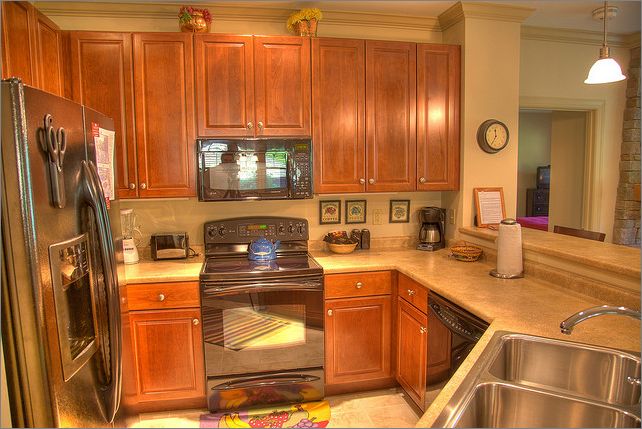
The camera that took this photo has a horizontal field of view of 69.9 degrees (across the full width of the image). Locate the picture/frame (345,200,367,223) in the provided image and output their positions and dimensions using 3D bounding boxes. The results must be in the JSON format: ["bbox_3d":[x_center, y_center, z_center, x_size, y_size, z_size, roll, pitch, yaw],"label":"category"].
[{"bbox_3d":[0.301,-0.033,4.068,0.216,0.213,0.016,0,4,-13],"label":"picture/frame"}]

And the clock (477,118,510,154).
[{"bbox_3d":[1.479,-0.660,3.901,0.319,0.284,0.076,-7,9,-22],"label":"clock"}]

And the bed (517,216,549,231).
[{"bbox_3d":[2.907,0.117,6.239,0.349,0.094,1.291,0,8,24],"label":"bed"}]

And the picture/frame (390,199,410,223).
[{"bbox_3d":[0.705,-0.039,4.144,0.215,0.228,0.018,-1,5,-16],"label":"picture/frame"}]

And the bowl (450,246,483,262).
[{"bbox_3d":[1.180,0.313,3.691,0.232,0.101,0.240,-4,8,1],"label":"bowl"}]

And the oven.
[{"bbox_3d":[-0.513,0.897,3.554,0.927,0.809,0.626,1,-9,-24],"label":"oven"}]

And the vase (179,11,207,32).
[{"bbox_3d":[-0.972,-1.450,3.475,0.157,0.101,0.153,7,19,13],"label":"vase"}]

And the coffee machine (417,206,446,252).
[{"bbox_3d":[0.994,0.118,4.025,0.341,0.372,0.169,-7,9,-20],"label":"coffee machine"}]

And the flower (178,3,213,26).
[{"bbox_3d":[-0.966,-1.515,3.490,0.200,0.075,0.175,2,11,-3],"label":"flower"}]

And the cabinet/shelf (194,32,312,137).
[{"bbox_3d":[-0.473,-1.016,3.674,0.955,0.738,0.659,4,14,12],"label":"cabinet/shelf"}]

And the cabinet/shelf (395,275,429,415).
[{"bbox_3d":[0.669,0.906,3.311,0.154,0.874,0.465,-5,8,-6],"label":"cabinet/shelf"}]

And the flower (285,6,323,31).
[{"bbox_3d":[-0.136,-1.516,3.634,0.198,0.078,0.192,-12,15,-11],"label":"flower"}]

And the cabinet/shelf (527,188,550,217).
[{"bbox_3d":[4.383,-0.237,9.231,0.325,0.569,0.515,-3,8,7],"label":"cabinet/shelf"}]

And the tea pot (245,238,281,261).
[{"bbox_3d":[-0.463,0.278,3.671,0.158,0.103,0.209,6,5,44],"label":"tea pot"}]

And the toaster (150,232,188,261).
[{"bbox_3d":[-1.213,0.254,3.682,0.302,0.202,0.179,-2,7,-14],"label":"toaster"}]

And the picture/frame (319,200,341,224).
[{"bbox_3d":[0.073,-0.030,4.023,0.221,0.225,0.017,1,6,-6],"label":"picture/frame"}]

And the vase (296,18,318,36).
[{"bbox_3d":[-0.108,-1.480,3.654,0.163,0.112,0.142,-16,27,-36],"label":"vase"}]

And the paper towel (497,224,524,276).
[{"bbox_3d":[1.350,0.245,3.272,0.238,0.396,0.229,3,6,35],"label":"paper towel"}]

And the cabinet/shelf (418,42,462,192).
[{"bbox_3d":[0.983,-0.801,3.818,0.462,1.197,0.117,-8,9,-24],"label":"cabinet/shelf"}]

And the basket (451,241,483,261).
[{"bbox_3d":[1.178,0.289,3.631,0.160,0.055,0.150,-6,16,-15],"label":"basket"}]

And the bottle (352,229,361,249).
[{"bbox_3d":[0.310,0.218,3.965,0.065,0.191,0.136,-1,8,-3],"label":"bottle"}]
